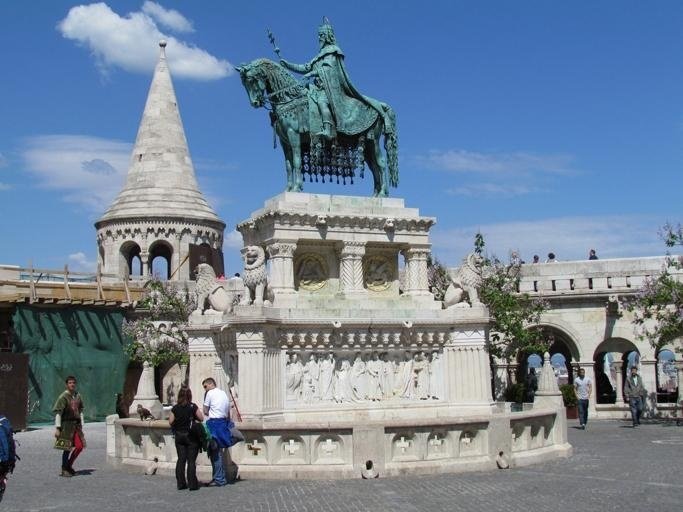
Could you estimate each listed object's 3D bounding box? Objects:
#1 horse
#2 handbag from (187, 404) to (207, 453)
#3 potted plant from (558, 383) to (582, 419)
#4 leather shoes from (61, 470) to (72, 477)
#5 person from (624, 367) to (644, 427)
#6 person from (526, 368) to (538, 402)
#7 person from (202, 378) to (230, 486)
[{"bbox_3d":[-0.598,-3.698,29.632,4.908,3.911,1.619,2,-6,-19],"label":"horse"},{"bbox_3d":[-3.017,3.675,21.941,0.289,1.008,0.310,-2,-2,42],"label":"handbag"},{"bbox_3d":[8.167,5.111,36.243,0.642,1.057,0.750,-13,-14,19],"label":"potted plant"},{"bbox_3d":[-6.299,5.000,23.637,0.198,0.154,0.132,25,-26,-36],"label":"leather shoes"},{"bbox_3d":[9.394,4.487,33.073,0.539,1.906,1.279,-1,-2,16],"label":"person"},{"bbox_3d":[7.027,4.703,38.026,0.403,1.266,1.941,-1,-2,11],"label":"person"},{"bbox_3d":[-2.651,3.771,22.150,0.589,2.299,0.460,-1,-1,-9],"label":"person"}]
